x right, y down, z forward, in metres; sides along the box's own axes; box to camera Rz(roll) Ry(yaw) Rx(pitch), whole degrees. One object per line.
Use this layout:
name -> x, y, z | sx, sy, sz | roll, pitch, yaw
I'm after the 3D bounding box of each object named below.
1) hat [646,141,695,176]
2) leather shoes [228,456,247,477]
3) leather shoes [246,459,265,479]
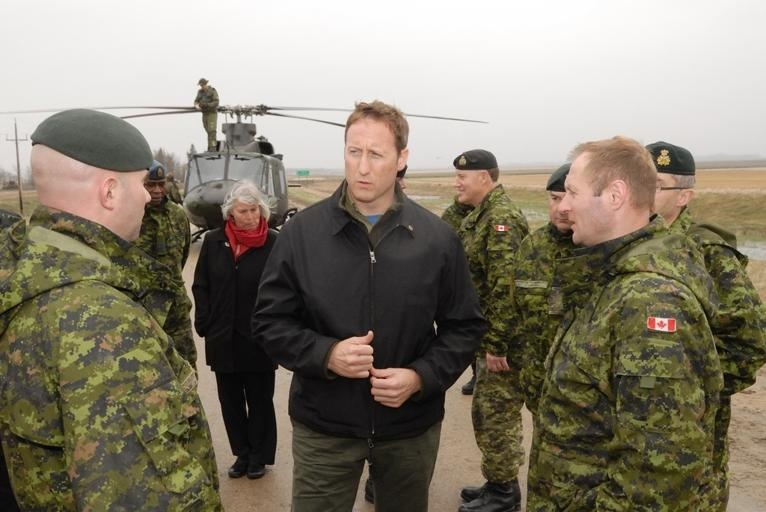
hat -> 1.753, -0.596, 3.358 | 0.268, 0.208, 0.346 | 3, 9, 25
leather shoes -> -1.155, 1.683, 4.357 | 0.080, 0.087, 0.207 | 0, -12, 3
leather shoes -> -1.003, 1.688, 4.365 | 0.154, 0.110, 0.114 | -3, 9, -16
